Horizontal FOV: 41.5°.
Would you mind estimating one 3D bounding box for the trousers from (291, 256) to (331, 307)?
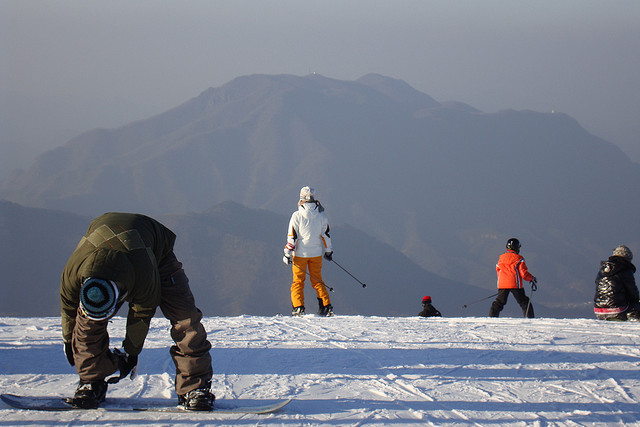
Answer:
[{"bbox_3d":[-0.237,1.533,19.711,0.722,1.287,0.845,-1,2,0],"label":"trousers"}]

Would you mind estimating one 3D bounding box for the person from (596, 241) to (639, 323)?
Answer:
[{"bbox_3d":[6.791,1.645,19.176,0.882,1.619,0.937,5,16,18],"label":"person"}]

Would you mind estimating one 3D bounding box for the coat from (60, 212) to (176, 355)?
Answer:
[{"bbox_3d":[-3.224,1.029,14.319,1.733,2.241,2.218,16,-26,-6],"label":"coat"}]

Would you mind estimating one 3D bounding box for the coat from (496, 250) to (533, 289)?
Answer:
[{"bbox_3d":[4.481,1.377,19.922,0.761,1.275,0.996,1,-6,-2],"label":"coat"}]

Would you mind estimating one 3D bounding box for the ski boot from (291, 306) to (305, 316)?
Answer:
[{"bbox_3d":[-0.507,2.249,19.509,0.135,0.175,0.406,6,-25,-10],"label":"ski boot"}]

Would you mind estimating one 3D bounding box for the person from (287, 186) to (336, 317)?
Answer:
[{"bbox_3d":[-0.230,0.916,19.809,1.048,2.961,1.383,0,15,-1],"label":"person"}]

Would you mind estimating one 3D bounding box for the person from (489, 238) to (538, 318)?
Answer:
[{"bbox_3d":[4.530,1.635,19.815,0.999,2.015,1.558,4,15,12],"label":"person"}]
